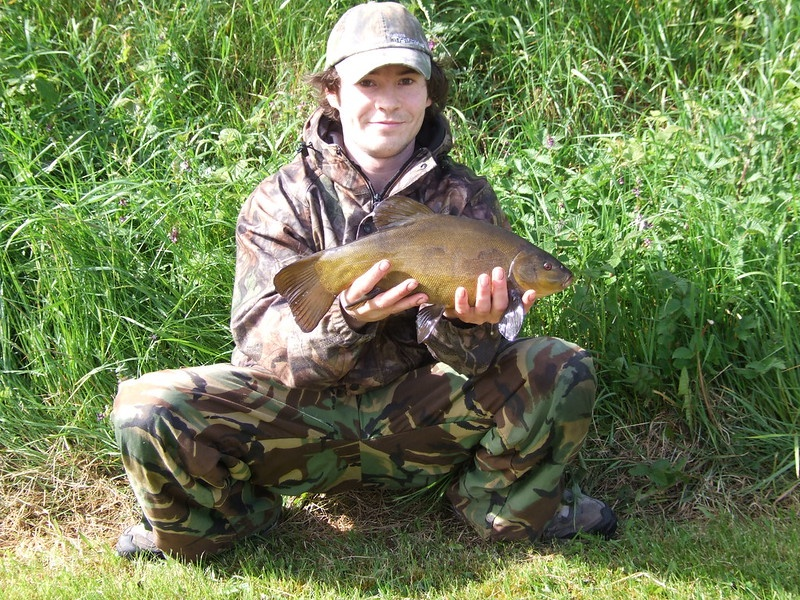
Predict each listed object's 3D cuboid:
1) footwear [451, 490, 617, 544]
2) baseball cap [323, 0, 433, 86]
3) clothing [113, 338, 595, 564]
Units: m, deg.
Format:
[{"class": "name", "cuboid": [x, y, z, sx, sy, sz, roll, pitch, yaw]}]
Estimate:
[{"class": "footwear", "cuboid": [0.636, 0.980, 3.541, 0.718, 0.309, 0.256, -4, 4, 2]}, {"class": "baseball cap", "cuboid": [-0.108, -1.167, 3.301, 0.489, 0.359, 0.287, -4, 13, -4]}, {"class": "clothing", "cuboid": [-0.187, 0.508, 3.706, 1.924, 0.886, 1.078, -1, 7, 0]}]
